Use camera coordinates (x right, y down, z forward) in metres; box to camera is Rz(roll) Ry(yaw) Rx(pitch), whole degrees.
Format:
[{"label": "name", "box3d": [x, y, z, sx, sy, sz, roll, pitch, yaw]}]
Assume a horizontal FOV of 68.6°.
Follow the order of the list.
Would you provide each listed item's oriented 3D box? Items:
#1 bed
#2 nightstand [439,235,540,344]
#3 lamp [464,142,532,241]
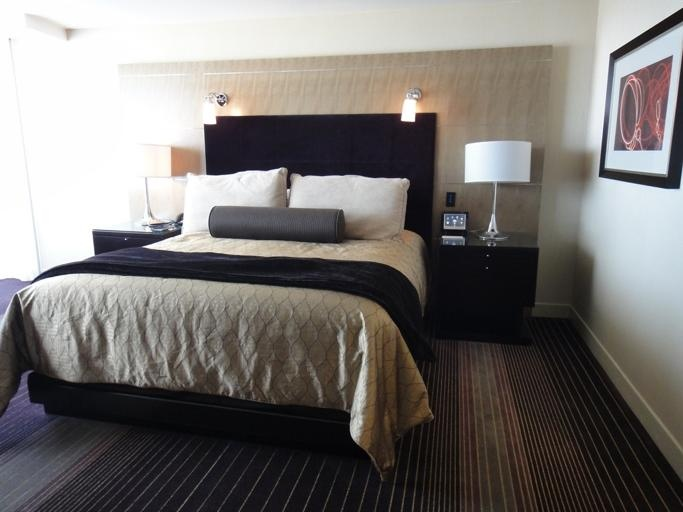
[{"label": "bed", "box3d": [-0.530, -0.108, 3.594, 2.361, 1.829, 2.189, 1, 14, 11]}, {"label": "nightstand", "box3d": [1.138, 0.218, 4.077, 0.687, 0.757, 0.779, 0, 18, 8]}, {"label": "lamp", "box3d": [1.213, -0.523, 3.976, 0.478, 0.748, 0.412, 2, 14, 14]}]
